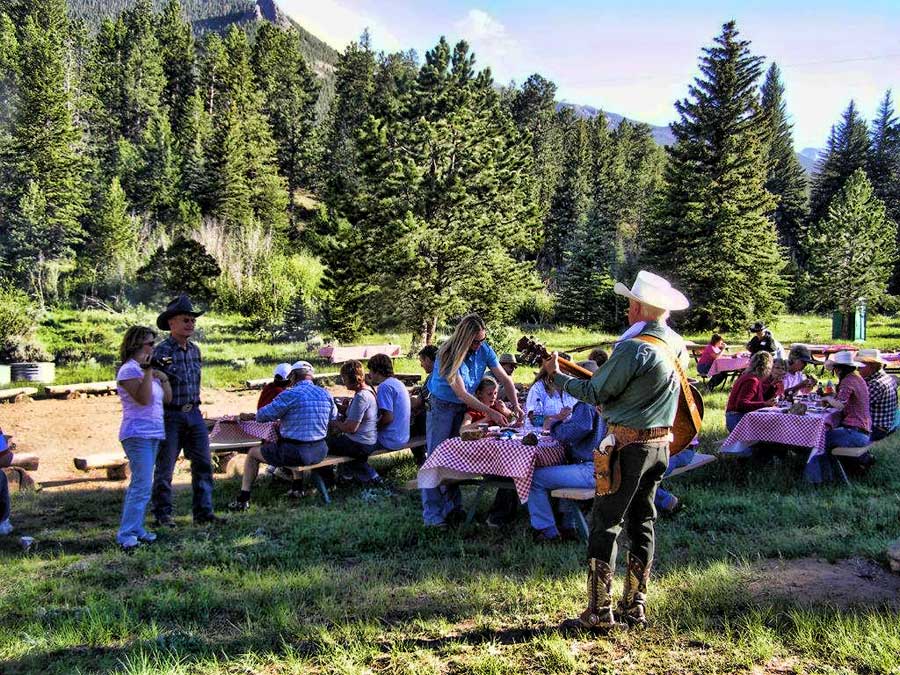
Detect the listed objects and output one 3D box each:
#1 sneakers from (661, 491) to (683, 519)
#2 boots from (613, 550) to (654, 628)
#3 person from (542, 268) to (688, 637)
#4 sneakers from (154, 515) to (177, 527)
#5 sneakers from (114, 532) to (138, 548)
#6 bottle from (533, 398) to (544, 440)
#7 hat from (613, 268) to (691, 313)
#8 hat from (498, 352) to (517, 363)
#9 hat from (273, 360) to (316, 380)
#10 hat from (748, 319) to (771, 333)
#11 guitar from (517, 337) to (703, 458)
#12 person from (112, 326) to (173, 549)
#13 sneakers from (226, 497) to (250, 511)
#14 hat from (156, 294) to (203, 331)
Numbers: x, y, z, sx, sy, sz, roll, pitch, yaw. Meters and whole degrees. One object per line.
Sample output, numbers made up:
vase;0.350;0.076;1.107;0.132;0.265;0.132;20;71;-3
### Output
sneakers;2.886;2.166;12.180;0.277;0.299;0.276;0;1;16
boots;1.859;2.579;9.461;0.306;0.824;0.659;3;1;5
person;1.808;1.120;9.486;1.159;3.434;0.728;-3;11;-12
sneakers;-3.578;2.311;11.896;0.280;0.233;0.115;1;-3;16
sneakers;-3.834;2.409;11.211;0.242;0.146;0.225;-6;13;-21
bottle;1.144;1.060;12.086;0.172;0.283;0.781;10;7;4
hat;2.028;-0.488;9.527;0.471;0.192;0.493;23;13;-17
hat;0.934;0.334;15.226;0.179;0.115;0.271;2;-5;-1
hat;-2.315;0.466;13.863;0.662;0.291;0.440;-2;-1;42
hat;9.759;-0.378;29.816;0.540;0.272;0.647;-16;-7;-20
guitar;1.651;0.577;9.614;1.862;0.299;1.030;27;19;-9
person;-3.720;1.176;11.295;0.454;2.515;0.867;4;12;23
sneakers;-2.857;2.243;12.681;0.288;0.154;0.137;1;-2;8
hat;-3.467;-0.439;11.953;0.586;0.277;0.474;-24;-32;32
